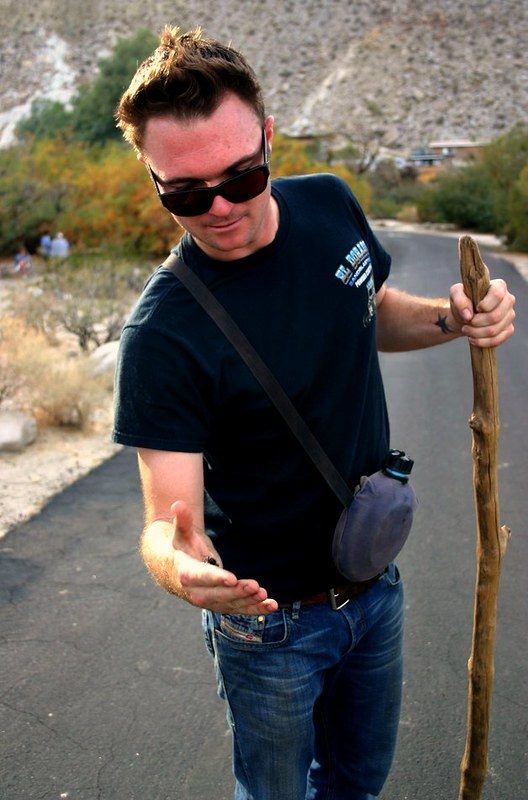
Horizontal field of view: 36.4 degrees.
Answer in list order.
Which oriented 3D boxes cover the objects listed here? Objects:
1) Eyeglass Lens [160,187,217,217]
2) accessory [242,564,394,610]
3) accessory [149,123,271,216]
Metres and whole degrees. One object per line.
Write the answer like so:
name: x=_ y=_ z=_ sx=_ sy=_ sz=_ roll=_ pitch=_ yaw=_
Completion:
Eyeglass Lens: x=-0.181 y=-0.457 z=1.850 sx=0.149 sy=0.063 sz=0.056 roll=8 pitch=26 yaw=34
accessory: x=0.168 y=0.456 z=2.051 sx=0.211 sy=0.051 sz=0.156 roll=-19 pitch=2 yaw=-5
accessory: x=-0.119 y=-0.561 z=1.923 sx=0.282 sy=0.082 sz=0.254 roll=-14 pitch=50 yaw=8
